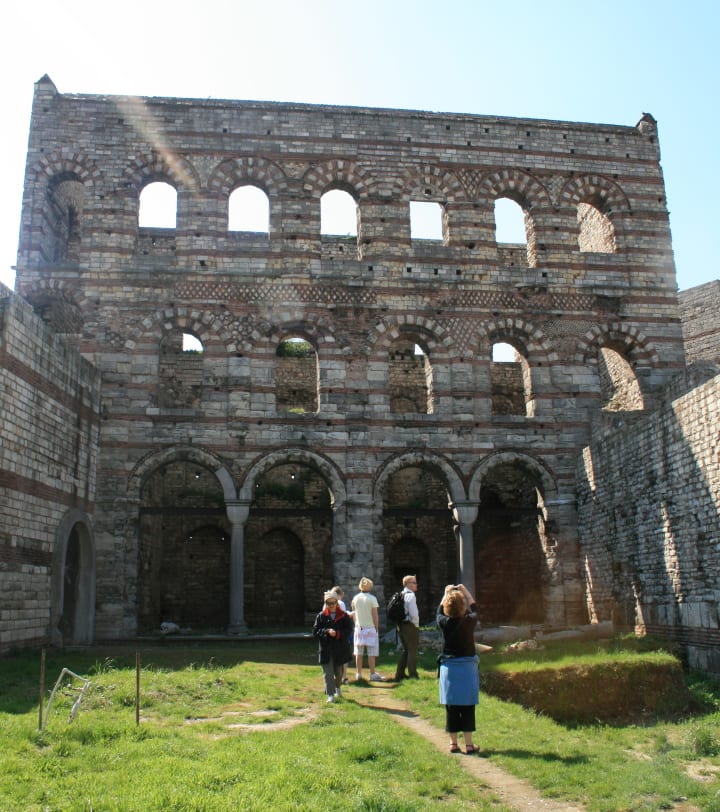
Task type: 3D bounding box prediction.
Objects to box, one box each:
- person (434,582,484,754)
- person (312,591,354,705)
[{"bbox_3d":[1.060,2.848,9.277,0.424,1.673,0.447,-3,-16,5],"label":"person"},{"bbox_3d":[-0.387,3.464,12.606,0.517,1.541,0.770,-2,-16,-1],"label":"person"}]
